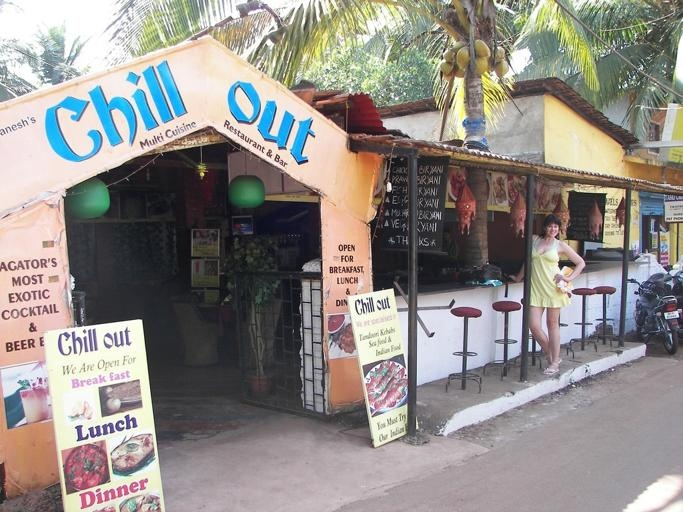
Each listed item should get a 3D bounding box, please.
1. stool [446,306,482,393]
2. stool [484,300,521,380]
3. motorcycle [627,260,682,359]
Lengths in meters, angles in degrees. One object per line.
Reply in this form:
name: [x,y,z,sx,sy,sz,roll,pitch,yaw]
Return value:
stool: [1.780,1.321,9.071,0.486,1.323,0.457,9,11,44]
stool: [2.463,1.181,9.582,0.581,1.268,0.609,0,0,40]
motorcycle: [6.329,1.153,12.594,0.481,1.247,1.858,0,-1,4]
